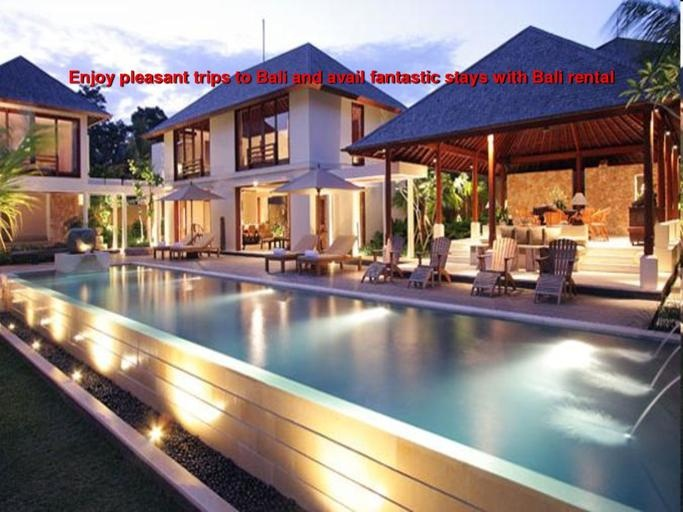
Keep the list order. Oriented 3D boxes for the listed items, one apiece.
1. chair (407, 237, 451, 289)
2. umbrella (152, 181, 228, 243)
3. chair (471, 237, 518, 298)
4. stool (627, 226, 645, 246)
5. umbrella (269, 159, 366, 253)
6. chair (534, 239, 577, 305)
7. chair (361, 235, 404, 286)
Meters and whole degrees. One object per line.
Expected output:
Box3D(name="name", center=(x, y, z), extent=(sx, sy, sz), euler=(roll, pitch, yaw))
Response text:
Box3D(name="chair", center=(2.038, 0.191, 11.288), extent=(0.650, 1.149, 1.382), euler=(0, 5, 35))
Box3D(name="umbrella", center=(-5.614, -2.034, 18.908), extent=(2.006, 1.843, 2.059), euler=(-1, 2, -1))
Box3D(name="chair", center=(3.191, 0.190, 10.465), extent=(0.650, 1.122, 1.367), euler=(1, 5, 37))
Box3D(name="stool", center=(7.867, -0.543, 13.429), extent=(0.447, 0.497, 0.261), euler=(4, 12, 31))
Box3D(name="umbrella", center=(-0.561, -1.679, 14.473), extent=(2.500, 2.572, 2.533), euler=(-1, 1, -10))
Box3D(name="chair", center=(4.091, 0.233, 9.626), extent=(0.594, 1.109, 1.379), euler=(2, 5, 35))
Box3D(name="chair", center=(1.049, 0.036, 12.175), extent=(0.592, 1.079, 1.325), euler=(3, 5, 39))
